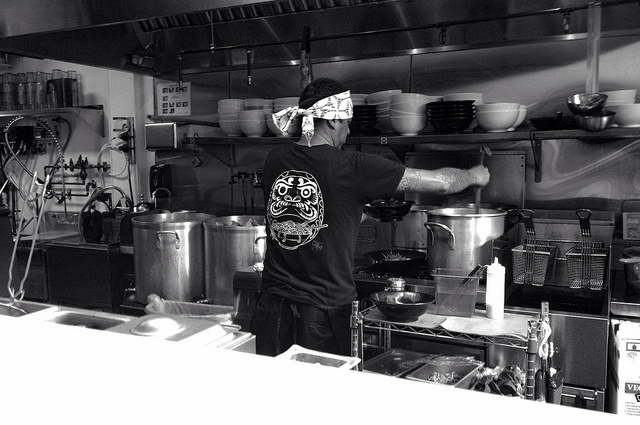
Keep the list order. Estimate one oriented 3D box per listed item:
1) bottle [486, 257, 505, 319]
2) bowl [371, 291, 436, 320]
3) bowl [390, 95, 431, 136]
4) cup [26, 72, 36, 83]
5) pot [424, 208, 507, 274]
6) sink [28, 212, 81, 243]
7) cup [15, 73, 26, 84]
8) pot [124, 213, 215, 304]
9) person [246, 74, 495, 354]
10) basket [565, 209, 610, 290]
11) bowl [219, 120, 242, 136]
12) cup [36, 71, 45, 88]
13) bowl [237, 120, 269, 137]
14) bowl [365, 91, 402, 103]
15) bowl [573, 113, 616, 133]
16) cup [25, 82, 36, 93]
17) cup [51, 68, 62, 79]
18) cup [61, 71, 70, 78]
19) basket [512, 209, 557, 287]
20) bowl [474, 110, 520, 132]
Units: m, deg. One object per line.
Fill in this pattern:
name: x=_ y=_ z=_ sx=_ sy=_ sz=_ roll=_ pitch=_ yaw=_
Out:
bottle: x=0.783 y=0.337 z=2.348 sx=0.079 sy=0.269 sz=0.057 roll=3 pitch=11 yaw=18
bowl: x=0.379 y=0.426 z=2.411 sx=0.224 sy=0.094 sz=0.225 roll=0 pitch=10 yaw=0
bowl: x=0.554 y=-0.626 z=3.401 sx=0.263 sy=0.202 sz=0.244 roll=0 pitch=8 yaw=0
cup: x=-2.931 y=-1.362 z=5.334 sx=0.081 sy=0.091 sz=0.079 roll=-1 pitch=10 yaw=0
pot: x=0.805 y=0.090 z=2.952 sx=0.525 sy=0.335 sz=0.325 roll=-3 pitch=4 yaw=-45
sink: x=-2.350 y=0.133 z=4.717 sx=0.276 sy=0.242 sz=0.139 roll=2 pitch=3 yaw=22
cup: x=-3.058 y=-1.376 z=5.422 sx=0.115 sy=0.113 sz=0.111 roll=2 pitch=2 yaw=0
pot: x=-1.035 y=0.302 z=4.004 sx=0.625 sy=0.565 sz=0.673 roll=0 pitch=4 yaw=0
person: x=0.106 y=0.033 z=2.612 sx=0.903 sy=1.361 sz=0.415 roll=1 pitch=10 yaw=11
basket: x=1.447 y=0.209 z=2.844 sx=0.206 sy=0.397 sz=0.220 roll=11 pitch=-10 yaw=-39
bowl: x=-0.672 y=-0.637 z=4.002 sx=0.128 sy=0.084 sz=0.124 roll=0 pitch=7 yaw=0
cup: x=-2.832 y=-1.343 z=5.335 sx=0.074 sy=0.155 sz=0.110 roll=-9 pitch=13 yaw=-41
bowl: x=-0.480 y=-0.599 z=3.836 sx=0.153 sy=0.091 sz=0.148 roll=1 pitch=9 yaw=0
bowl: x=0.422 y=-0.757 z=3.461 sx=0.204 sy=0.063 sz=0.198 roll=-2 pitch=-2 yaw=0
bowl: x=1.484 y=-0.482 z=2.851 sx=0.192 sy=0.098 sz=0.093 roll=3 pitch=11 yaw=21
cup: x=-2.926 y=-1.264 z=5.331 sx=0.101 sy=0.107 sz=0.098 roll=3 pitch=12 yaw=-1
cup: x=-2.645 y=-1.389 z=5.287 sx=0.095 sy=0.106 sz=0.310 roll=-6 pitch=11 yaw=-27
cup: x=-2.512 y=-1.356 z=5.189 sx=0.080 sy=0.072 sz=0.054 roll=0 pitch=1 yaw=0
basket: x=1.160 y=0.187 z=2.879 sx=0.238 sy=0.384 sz=0.430 roll=4 pitch=4 yaw=37
bowl: x=1.050 y=-0.550 z=3.141 sx=0.165 sy=0.084 sz=0.160 roll=-1 pitch=7 yaw=0
